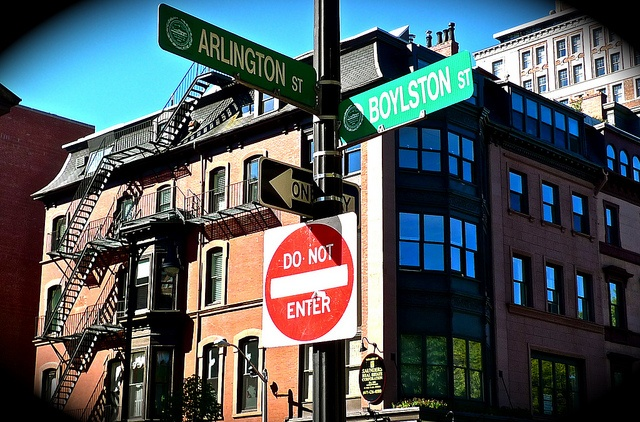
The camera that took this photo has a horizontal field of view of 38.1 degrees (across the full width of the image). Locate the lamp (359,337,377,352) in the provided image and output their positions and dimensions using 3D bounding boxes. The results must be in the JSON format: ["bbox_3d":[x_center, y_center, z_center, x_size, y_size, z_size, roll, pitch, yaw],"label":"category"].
[{"bbox_3d":[2.395,6.543,45.250,0.917,0.747,0.305,-5,-23,10],"label":"lamp"}]
